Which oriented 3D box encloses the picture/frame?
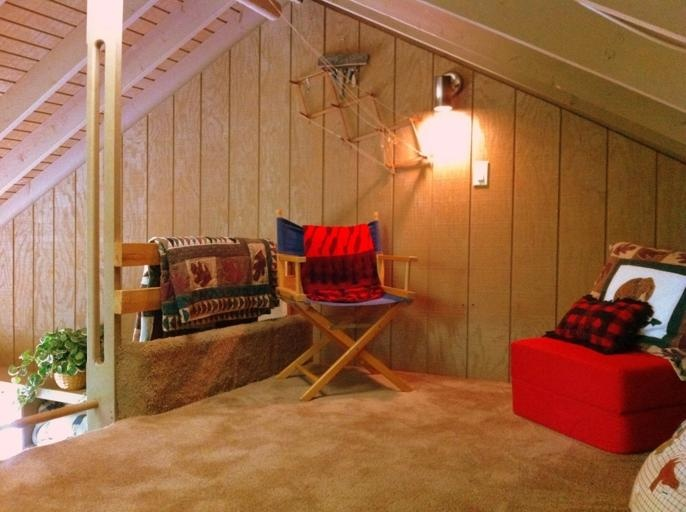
[{"bbox_3d":[1.151,0.291,2.544,0.098,0.229,0.309,38,-15,-18],"label":"picture/frame"}]

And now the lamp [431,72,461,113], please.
[{"bbox_3d":[0.603,-0.939,3.319,0.172,0.231,0.193,2,11,11],"label":"lamp"}]

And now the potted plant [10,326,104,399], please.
[{"bbox_3d":[-1.830,0.665,3.746,0.700,0.362,0.693,-1,0,-21],"label":"potted plant"}]
